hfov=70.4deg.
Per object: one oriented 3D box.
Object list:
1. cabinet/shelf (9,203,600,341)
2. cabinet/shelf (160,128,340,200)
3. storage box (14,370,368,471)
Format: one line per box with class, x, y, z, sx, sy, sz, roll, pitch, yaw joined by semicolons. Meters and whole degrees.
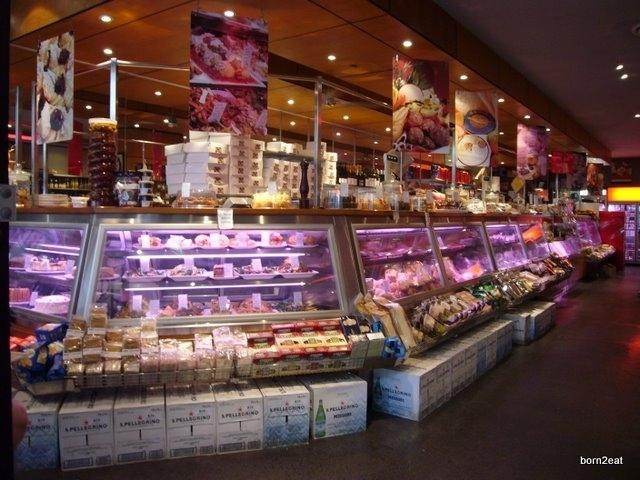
cabinet/shelf;0.431;0.154;4.486;5.190;0.925;1.314;-1;0;-30
cabinet/shelf;-1.168;-1.177;7.093;0.572;0.775;2.409;2;4;32
storage box;-1.000;1.237;3.056;1.852;0.446;0.224;-1;-1;-13
